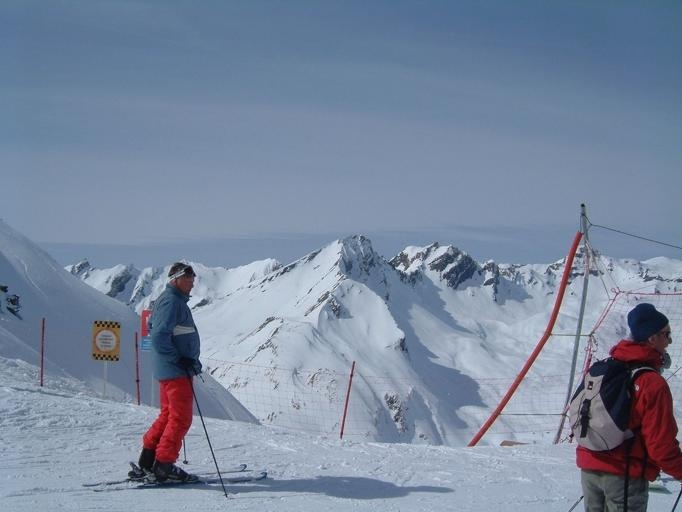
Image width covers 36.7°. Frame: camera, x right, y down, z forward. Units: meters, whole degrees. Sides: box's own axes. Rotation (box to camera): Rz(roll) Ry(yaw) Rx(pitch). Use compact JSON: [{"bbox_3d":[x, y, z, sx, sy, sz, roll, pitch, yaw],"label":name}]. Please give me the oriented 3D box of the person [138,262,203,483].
[{"bbox_3d":[-3.162,2.145,19.393,1.022,4.116,0.629,4,-4,-11],"label":"person"}]
